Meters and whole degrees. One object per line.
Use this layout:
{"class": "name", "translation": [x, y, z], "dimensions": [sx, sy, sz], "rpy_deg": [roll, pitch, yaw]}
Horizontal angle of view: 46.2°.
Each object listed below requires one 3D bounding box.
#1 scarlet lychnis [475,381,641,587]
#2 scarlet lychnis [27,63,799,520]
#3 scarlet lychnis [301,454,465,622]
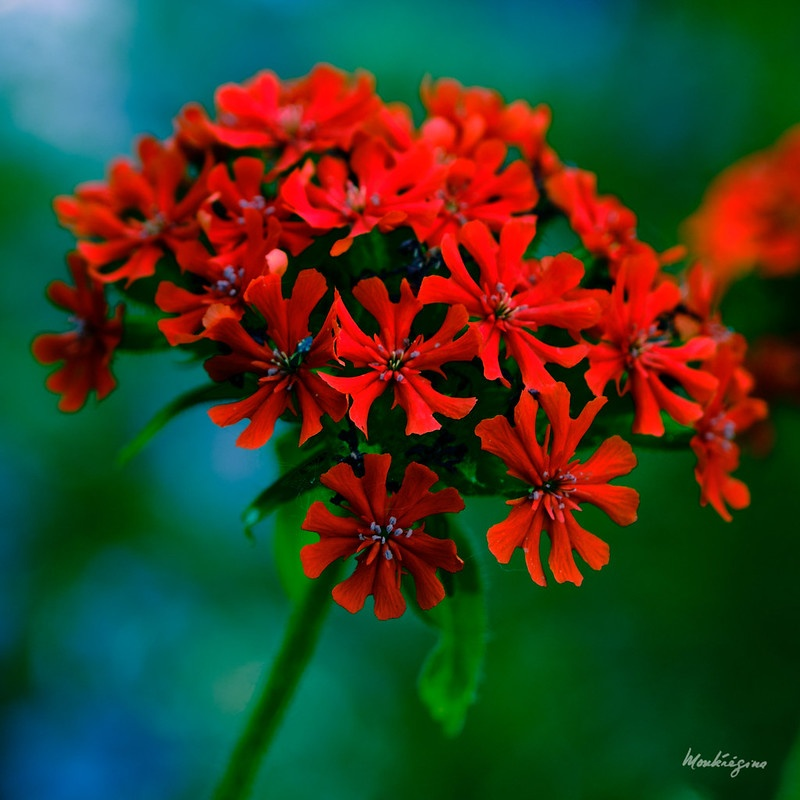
{"class": "scarlet lychnis", "translation": [0.197, 0.102, 1.142], "dimensions": [0.202, 0.199, 0.194], "rpy_deg": [-5, 46, -24]}
{"class": "scarlet lychnis", "translation": [-0.011, -0.063, 1.459], "dimensions": [0.905, 0.338, 0.689], "rpy_deg": [15, 68, -6]}
{"class": "scarlet lychnis", "translation": [-0.020, 0.163, 1.138], "dimensions": [0.187, 0.186, 0.146], "rpy_deg": [3, 44, -16]}
